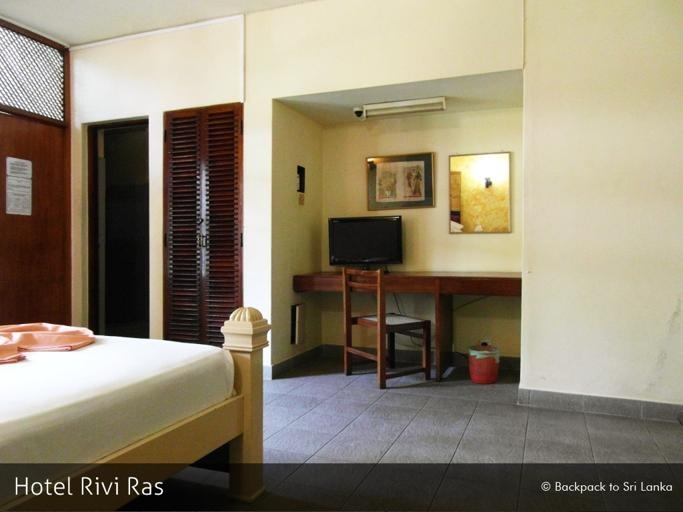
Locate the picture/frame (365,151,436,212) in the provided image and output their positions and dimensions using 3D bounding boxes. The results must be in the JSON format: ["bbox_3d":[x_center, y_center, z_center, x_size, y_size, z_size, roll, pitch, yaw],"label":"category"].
[{"bbox_3d":[0.603,-0.740,5.178,0.619,0.479,0.023,1,3,23],"label":"picture/frame"}]

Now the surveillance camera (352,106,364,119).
[{"bbox_3d":[0.149,-1.331,4.868,0.086,0.079,0.072,-3,6,11],"label":"surveillance camera"}]

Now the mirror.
[{"bbox_3d":[1.299,-0.597,4.917,0.777,1.002,0.049,1,2,22],"label":"mirror"}]

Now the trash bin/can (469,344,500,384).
[{"bbox_3d":[1.190,0.896,4.420,0.296,0.315,0.295,2,-5,-17],"label":"trash bin/can"}]

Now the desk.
[{"bbox_3d":[0.543,0.564,4.676,1.948,0.970,0.915,2,6,16],"label":"desk"}]

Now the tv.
[{"bbox_3d":[0.246,-0.119,5.028,0.569,0.395,0.150,1,5,11],"label":"tv"}]
